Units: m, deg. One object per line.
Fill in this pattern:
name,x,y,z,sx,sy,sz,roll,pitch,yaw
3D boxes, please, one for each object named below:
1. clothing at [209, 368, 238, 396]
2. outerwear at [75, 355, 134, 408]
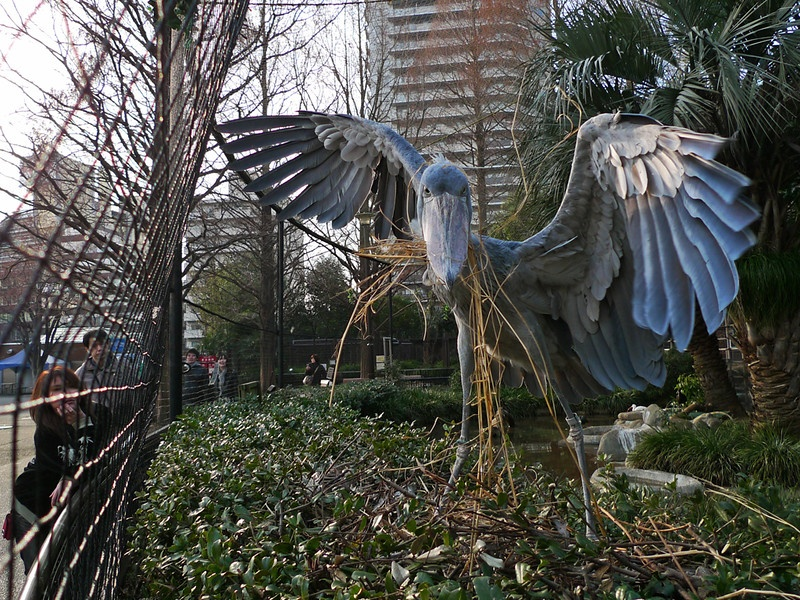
clothing,-2.705,1.319,10.429,0.326,0.511,0.479,-1,4,16
outerwear,-1.001,0.292,2.282,0.155,0.212,0.105,0,6,-30
